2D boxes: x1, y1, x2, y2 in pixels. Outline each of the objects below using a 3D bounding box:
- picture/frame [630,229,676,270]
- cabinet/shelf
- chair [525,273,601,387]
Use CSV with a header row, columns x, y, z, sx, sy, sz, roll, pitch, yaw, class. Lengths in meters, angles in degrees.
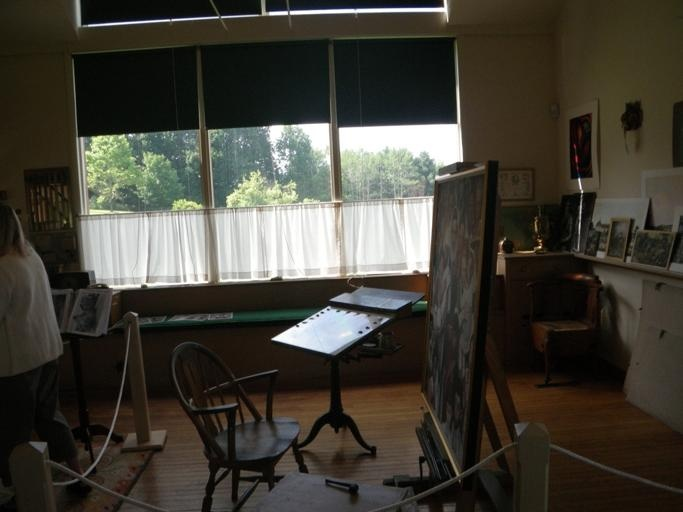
x,y,z,sx,sy,sz,roll,pitch,yaw,class
3.036,-0.077,5.512,0.096,0.348,0.455,-4,8,-16,picture/frame
2.206,0.454,6.403,0.851,1.407,0.708,0,4,-2,cabinet/shelf
2.463,0.790,6.254,0.692,1.141,0.522,-3,7,-4,chair
